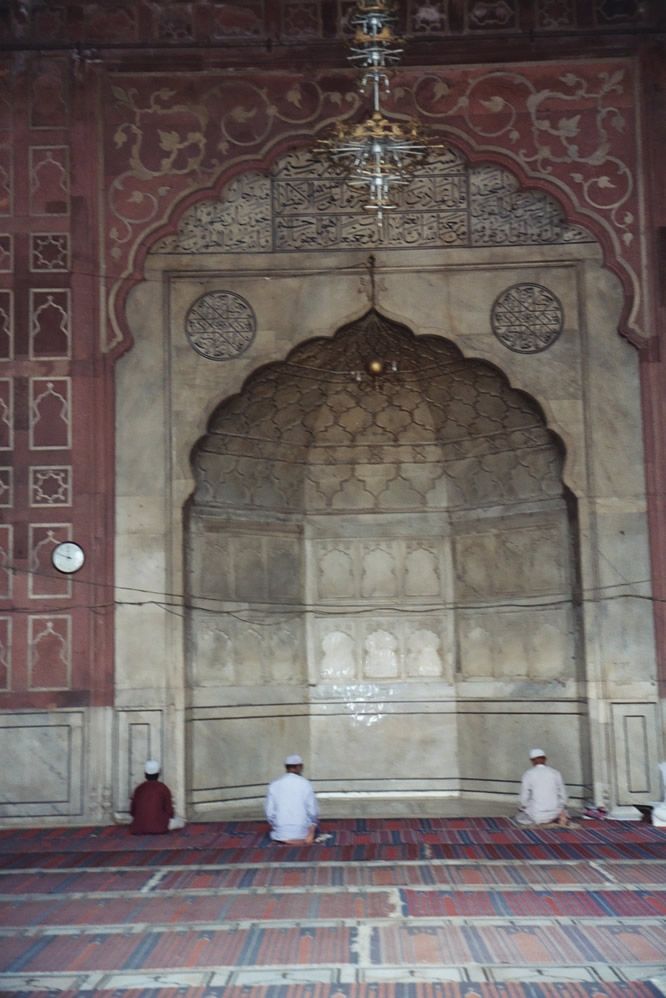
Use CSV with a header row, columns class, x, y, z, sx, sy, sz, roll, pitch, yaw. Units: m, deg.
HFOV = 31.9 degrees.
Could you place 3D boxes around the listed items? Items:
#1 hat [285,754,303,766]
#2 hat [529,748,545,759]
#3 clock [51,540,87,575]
class,x,y,z,sx,sy,sz,roll,pitch,yaw
hat,-0.234,1.448,6.449,0.107,0.044,0.096,1,-2,5
hat,1.159,1.443,6.629,0.123,0.041,0.150,-1,-3,4
clock,-1.545,0.341,6.796,0.208,0.168,0.038,-10,-4,-4
